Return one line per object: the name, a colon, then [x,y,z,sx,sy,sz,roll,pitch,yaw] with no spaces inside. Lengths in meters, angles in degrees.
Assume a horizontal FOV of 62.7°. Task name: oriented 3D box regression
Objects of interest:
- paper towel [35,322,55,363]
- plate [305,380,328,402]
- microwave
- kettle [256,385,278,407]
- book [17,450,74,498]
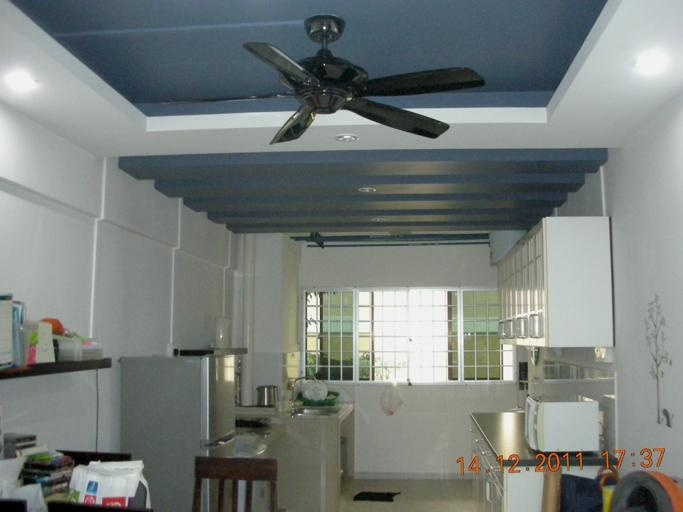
paper towel: [-1.819,0.524,3.409,0.128,0.237,0.133,2,1,-26]
plate: [-0.302,1.555,6.466,0.215,0.224,0.093,-11,-4,-27]
microwave: [1.754,1.378,4.882,0.591,0.411,0.807,2,-1,-13]
kettle: [-0.918,1.733,6.958,0.299,0.276,0.238,-2,-9,13]
book: [-1.661,1.201,3.155,0.225,0.228,0.221,5,-12,-21]
